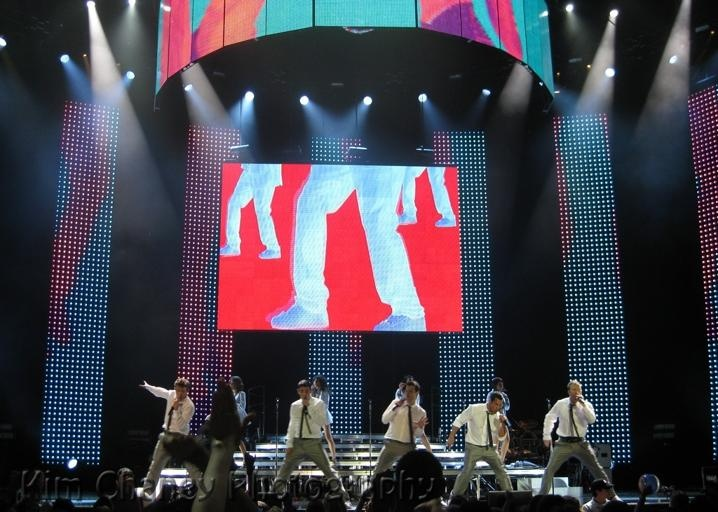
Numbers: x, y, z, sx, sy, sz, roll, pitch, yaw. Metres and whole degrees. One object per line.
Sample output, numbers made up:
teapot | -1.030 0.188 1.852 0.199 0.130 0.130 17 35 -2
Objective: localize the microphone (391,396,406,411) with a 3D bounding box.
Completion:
microphone | 0.611 2.278 11.582 0.187 0.184 0.051 -23 -52 37

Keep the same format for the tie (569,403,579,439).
tie | 3.286 2.584 11.680 0.124 0.429 0.085 -8 -15 5

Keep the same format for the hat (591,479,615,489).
hat | 3.389 3.219 10.620 0.261 0.145 0.193 -6 -9 -5
